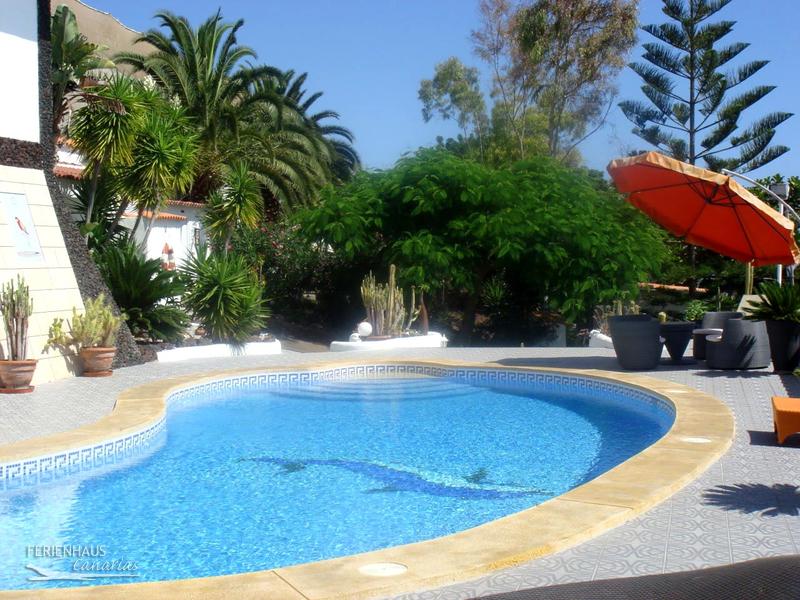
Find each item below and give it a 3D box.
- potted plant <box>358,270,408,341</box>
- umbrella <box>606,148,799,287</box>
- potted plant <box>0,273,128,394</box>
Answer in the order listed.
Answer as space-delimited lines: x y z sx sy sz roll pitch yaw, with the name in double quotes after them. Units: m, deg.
-0.433 -0.017 17.009 1.113 1.880 1.646 1 6 1 "potted plant"
5.465 -1.556 11.129 3.222 1.833 2.412 0 7 -9 "umbrella"
-5.695 0.584 10.393 0.739 1.593 1.754 1 1 32 "potted plant"
